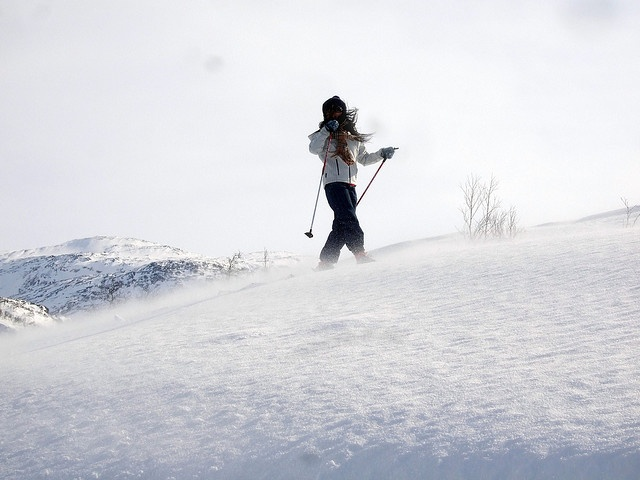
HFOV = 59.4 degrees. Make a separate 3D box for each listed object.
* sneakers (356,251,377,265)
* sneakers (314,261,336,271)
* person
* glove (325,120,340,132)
[{"bbox_3d":[0.510,0.198,5.963,0.269,0.174,0.093,-2,4,-3],"label":"sneakers"},{"bbox_3d":[0.031,0.290,6.107,0.116,0.123,0.122,0,-1,21],"label":"sneakers"},{"bbox_3d":[0.285,-0.641,6.062,0.768,1.881,1.131,-3,-3,4],"label":"person"},{"bbox_3d":[0.112,-1.180,5.801,0.137,0.136,0.124,-2,-3,-18],"label":"glove"}]
